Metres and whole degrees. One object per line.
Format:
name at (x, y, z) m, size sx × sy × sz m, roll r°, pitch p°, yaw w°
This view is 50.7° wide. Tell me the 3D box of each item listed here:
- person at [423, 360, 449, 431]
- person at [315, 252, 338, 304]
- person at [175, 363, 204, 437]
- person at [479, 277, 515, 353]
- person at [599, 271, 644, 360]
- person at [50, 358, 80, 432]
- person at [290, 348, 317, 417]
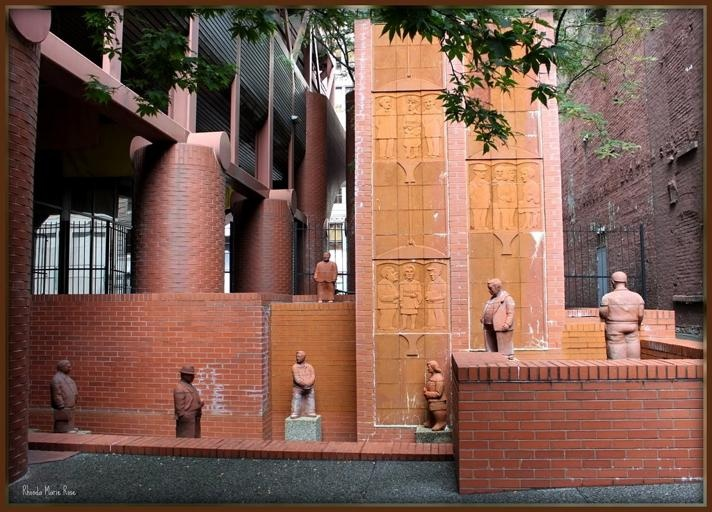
person at (1.559, 2.649, 14.613) m, size 0.449 × 1.382 × 0.710 m, roll -3°, pitch 11°, yaw 6°
person at (-0.741, 0.592, 18.830) m, size 0.556 × 1.402 × 1.200 m, roll -5°, pitch 11°, yaw -3°
person at (-2.922, 2.548, 12.945) m, size 0.477 × 1.251 × 0.661 m, roll -5°, pitch 11°, yaw -5°
person at (2.463, 1.077, 13.160) m, size 0.567 × 1.382 × 0.534 m, roll 1°, pitch 12°, yaw 22°
person at (4.333, 0.989, 12.249) m, size 0.649 × 1.383 × 0.665 m, roll 0°, pitch 12°, yaw 20°
person at (-5.415, 2.622, 13.758) m, size 0.430 × 1.346 × 0.589 m, roll -2°, pitch 11°, yaw 11°
person at (-1.157, 2.679, 15.806) m, size 0.555 × 1.423 × 0.648 m, roll -4°, pitch 11°, yaw -1°
